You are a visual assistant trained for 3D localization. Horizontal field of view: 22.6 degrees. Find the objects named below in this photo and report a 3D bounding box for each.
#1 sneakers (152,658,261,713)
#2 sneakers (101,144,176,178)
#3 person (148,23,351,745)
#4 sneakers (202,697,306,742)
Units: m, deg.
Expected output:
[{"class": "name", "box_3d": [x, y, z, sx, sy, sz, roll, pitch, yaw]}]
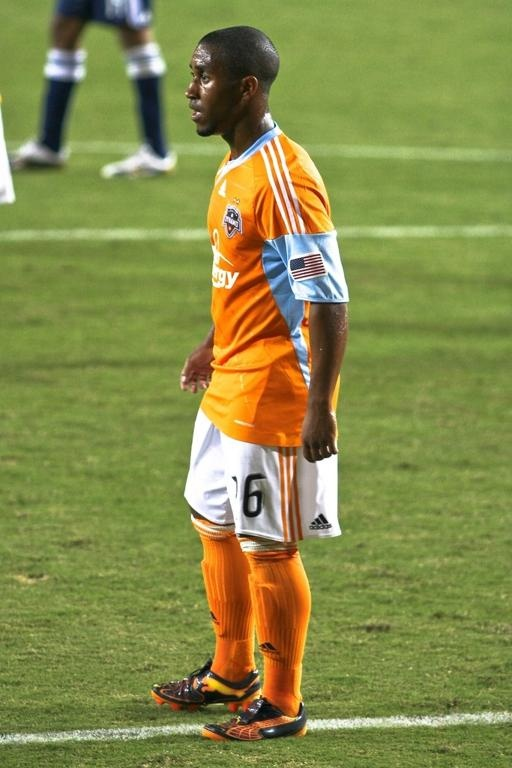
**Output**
[{"class": "sneakers", "box_3d": [-0.126, 0.699, 3.003, 0.261, 0.109, 0.088, 3, 0, -3]}, {"class": "sneakers", "box_3d": [-0.717, -1.318, 7.626, 0.568, 0.199, 0.175, -3, 4, -17]}, {"class": "person", "box_3d": [-0.014, 0.011, 2.803, 0.473, 1.541, 0.450, 4, 17, 25]}, {"class": "sneakers", "box_3d": [0.004, 0.742, 2.873, 0.255, 0.093, 0.085, 0, -17, -3]}]
